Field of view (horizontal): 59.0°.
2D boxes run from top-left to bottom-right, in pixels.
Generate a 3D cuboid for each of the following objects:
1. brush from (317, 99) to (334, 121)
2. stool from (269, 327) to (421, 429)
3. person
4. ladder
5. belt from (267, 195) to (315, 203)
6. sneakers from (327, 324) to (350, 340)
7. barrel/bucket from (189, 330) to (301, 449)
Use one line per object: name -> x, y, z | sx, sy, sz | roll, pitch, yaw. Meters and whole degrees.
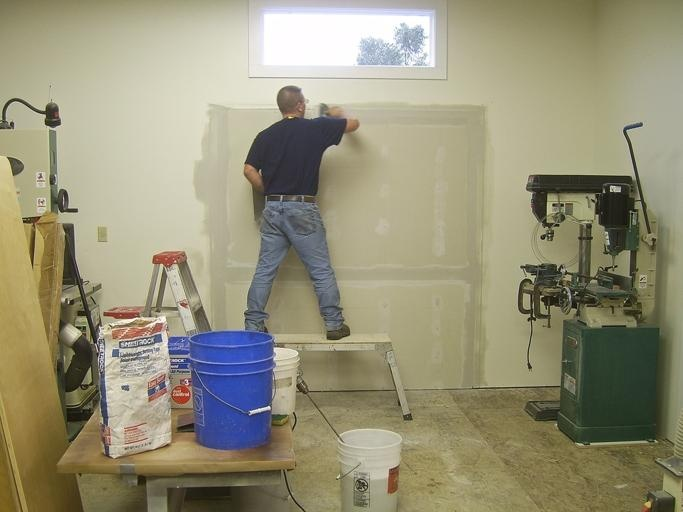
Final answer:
brush -> -0.138, -1.121, 4.696 | 0.126, 0.131, 0.097 | -10, 24, -12
stool -> 0.094, 1.044, 4.719 | 0.887, 0.475, 0.674 | -1, -3, 0
person -> -0.342, -0.212, 4.563 | 0.808, 1.622, 0.453 | 0, 12, 0
ladder -> -1.111, 0.313, 3.949 | 0.512, 0.640, 0.423 | -4, 5, -18
belt -> -0.395, -0.424, 4.516 | 0.353, 0.063, 0.108 | -2, 13, -7
sneakers -> -0.035, 0.576, 4.557 | 0.077, 0.092, 0.194 | 1, 7, 23
barrel/bucket -> -0.499, 0.602, 2.943 | 0.462, 0.496, 0.452 | 0, 3, 0
